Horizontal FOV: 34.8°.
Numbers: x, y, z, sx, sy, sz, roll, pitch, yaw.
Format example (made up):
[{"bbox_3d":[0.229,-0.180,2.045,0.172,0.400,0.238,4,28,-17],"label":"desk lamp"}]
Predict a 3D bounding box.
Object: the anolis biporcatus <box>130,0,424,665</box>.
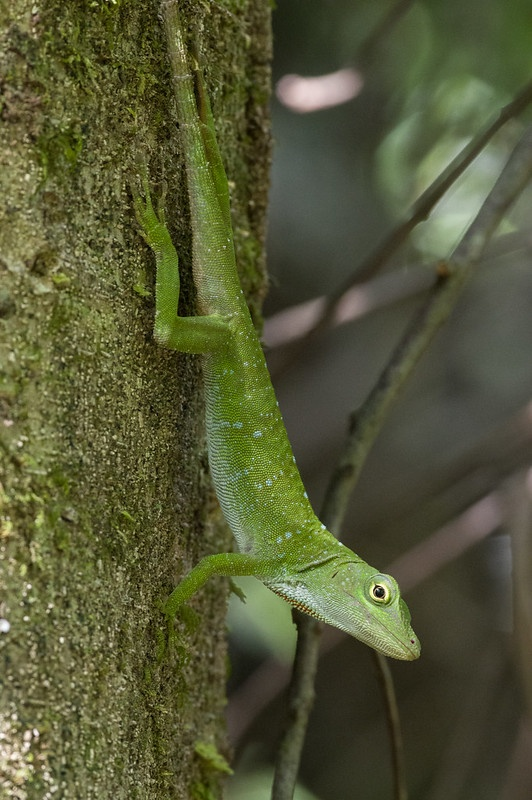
[{"bbox_3d":[-0.072,-0.022,1.430,0.180,0.399,1.134,-12,89,23],"label":"anolis biporcatus"}]
